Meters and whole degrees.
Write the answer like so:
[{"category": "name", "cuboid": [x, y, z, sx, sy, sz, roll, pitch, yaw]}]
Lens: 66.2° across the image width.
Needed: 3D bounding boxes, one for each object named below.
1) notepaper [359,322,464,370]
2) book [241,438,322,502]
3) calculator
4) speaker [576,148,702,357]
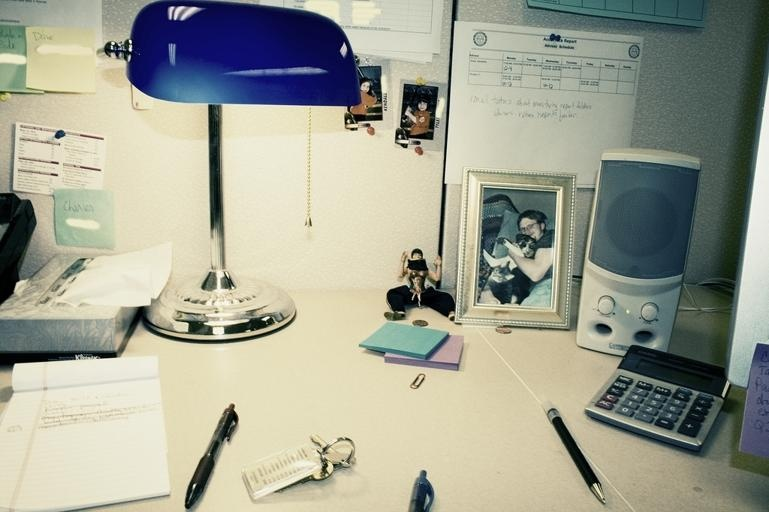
[{"category": "notepaper", "cuboid": [0.050, 0.156, 1.045, 0.178, 0.030, 0.117, 5, 15, 9]}, {"category": "book", "cuboid": [-0.138, 0.288, 0.787, 0.102, 0.035, 0.050, -4, 16, -23]}, {"category": "calculator", "cuboid": [0.441, 0.216, 0.929, 0.167, 0.060, 0.218, 11, 23, 35]}, {"category": "speaker", "cuboid": [0.448, -0.001, 1.045, 0.165, 0.354, 0.089, 8, 16, 18]}]
